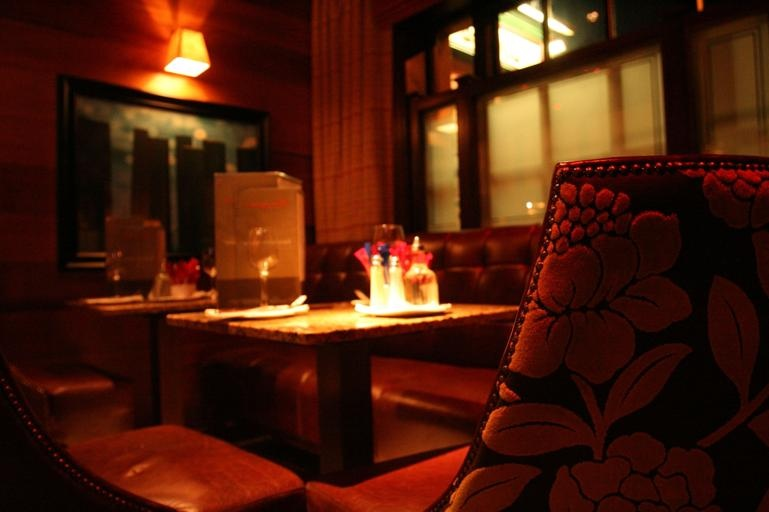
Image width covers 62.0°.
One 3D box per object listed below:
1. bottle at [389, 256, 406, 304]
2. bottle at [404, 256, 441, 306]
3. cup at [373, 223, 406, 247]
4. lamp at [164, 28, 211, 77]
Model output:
[{"bbox_3d":[0.047,0.105,2.386,0.063,0.231,0.063,-3,32,2],"label":"bottle"},{"bbox_3d":[0.137,0.082,2.405,0.125,0.218,0.124,-2,26,1],"label":"bottle"},{"bbox_3d":[0.022,-0.077,2.501,0.115,0.114,0.117,1,1,0],"label":"cup"},{"bbox_3d":[-1.327,-1.292,4.259,0.321,0.301,0.278,1,-4,-40],"label":"lamp"}]
